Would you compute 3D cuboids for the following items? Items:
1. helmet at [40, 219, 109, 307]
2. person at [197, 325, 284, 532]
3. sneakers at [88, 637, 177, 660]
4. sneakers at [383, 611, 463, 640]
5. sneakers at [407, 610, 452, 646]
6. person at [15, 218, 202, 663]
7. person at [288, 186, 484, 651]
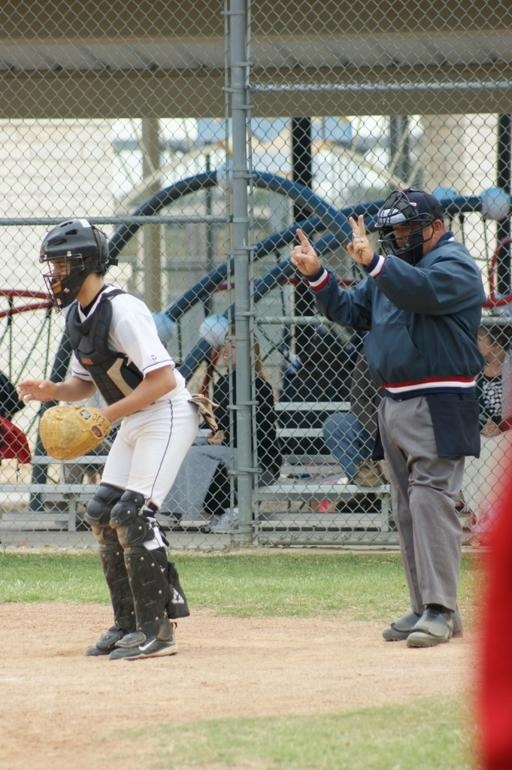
[{"bbox_3d":[-0.586,-0.403,3.751,0.227,0.299,0.155,-1,1,-8],"label":"helmet"},{"bbox_3d":[-0.086,0.249,6.816,0.523,1.284,0.487,1,32,20],"label":"person"},{"bbox_3d":[-0.420,0.851,3.716,0.313,0.100,0.091,3,-7,-13],"label":"sneakers"},{"bbox_3d":[0.547,0.829,3.937,0.311,0.112,0.097,5,-6,-27],"label":"sneakers"},{"bbox_3d":[0.572,0.814,3.764,0.077,0.072,0.193,-4,-5,32],"label":"sneakers"},{"bbox_3d":[-0.449,0.188,3.801,0.714,1.397,0.525,2,-5,-24],"label":"person"},{"bbox_3d":[0.501,0.094,3.977,0.603,1.567,0.534,-2,2,-30],"label":"person"}]
